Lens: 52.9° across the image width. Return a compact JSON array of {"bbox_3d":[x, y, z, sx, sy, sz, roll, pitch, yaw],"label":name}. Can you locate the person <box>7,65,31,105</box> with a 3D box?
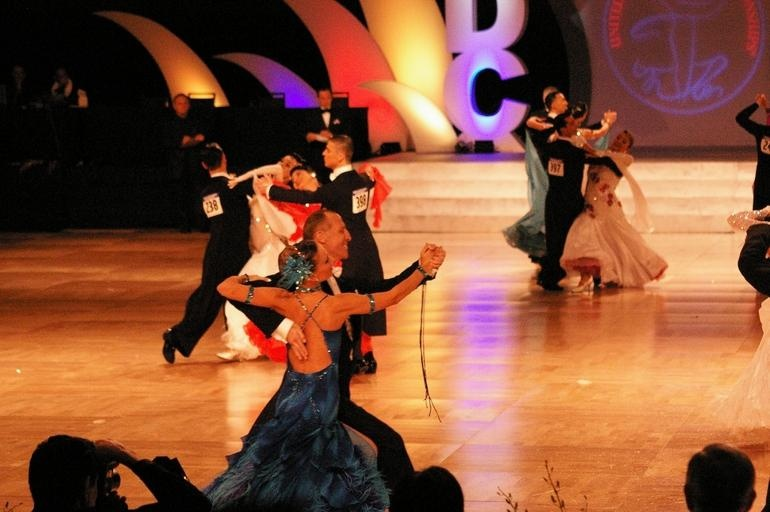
[{"bbox_3d":[-8.074,-3.836,17.007,0.489,1.004,3.303,-7,12,-23],"label":"person"}]

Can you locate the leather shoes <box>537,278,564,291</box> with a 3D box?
[{"bbox_3d":[1.971,0.331,9.354,0.174,0.086,0.226,5,-3,-20],"label":"leather shoes"}]

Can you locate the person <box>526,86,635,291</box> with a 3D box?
[{"bbox_3d":[2.222,-0.820,9.487,0.974,2.391,1.025,0,12,9],"label":"person"}]

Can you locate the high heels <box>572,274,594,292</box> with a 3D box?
[{"bbox_3d":[2.326,0.316,9.166,0.233,0.199,0.106,-1,11,3],"label":"high heels"}]
